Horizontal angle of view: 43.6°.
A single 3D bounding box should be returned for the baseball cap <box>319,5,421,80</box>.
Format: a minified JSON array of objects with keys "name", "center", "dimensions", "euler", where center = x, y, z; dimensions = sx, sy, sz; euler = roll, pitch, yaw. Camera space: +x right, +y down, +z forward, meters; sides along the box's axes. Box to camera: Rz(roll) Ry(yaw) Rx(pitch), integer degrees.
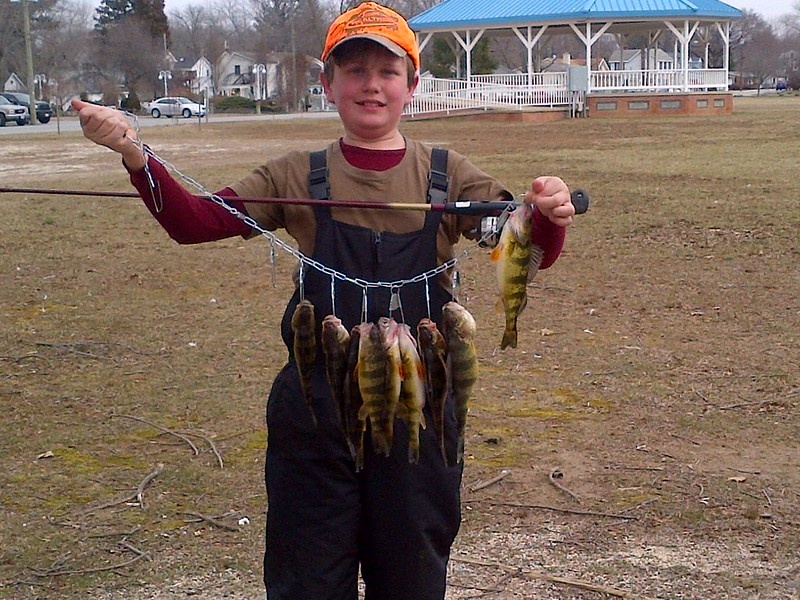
[{"name":"baseball cap","center":[-0.147,-1.345,5.020],"dimensions":[0.483,0.355,0.277],"euler":[0,8,-2]}]
